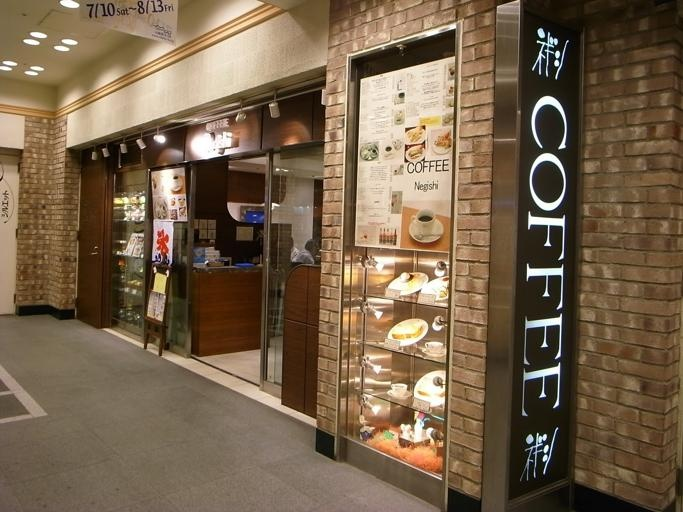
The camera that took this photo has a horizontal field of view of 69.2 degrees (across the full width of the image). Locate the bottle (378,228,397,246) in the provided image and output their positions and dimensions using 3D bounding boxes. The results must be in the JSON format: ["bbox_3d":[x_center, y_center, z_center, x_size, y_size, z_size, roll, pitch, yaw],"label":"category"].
[{"bbox_3d":[0.336,-0.140,3.567,0.021,0.111,0.118,-4,8,-41],"label":"bottle"}]

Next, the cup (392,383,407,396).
[{"bbox_3d":[0.426,0.968,3.585,0.082,0.048,0.069,-2,-2,15],"label":"cup"}]
